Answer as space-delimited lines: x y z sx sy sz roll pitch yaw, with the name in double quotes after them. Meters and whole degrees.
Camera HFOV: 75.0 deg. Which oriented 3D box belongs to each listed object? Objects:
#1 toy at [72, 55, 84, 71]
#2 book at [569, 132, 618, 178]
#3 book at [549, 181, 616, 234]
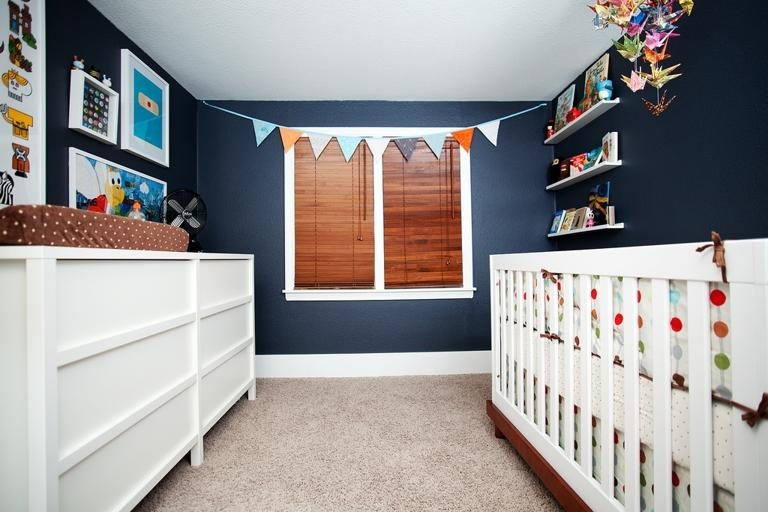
-1.826 -1.153 3.001 0.055 0.095 0.084 -1 0 -28 "toy"
1.506 -0.729 3.652 0.136 0.263 0.504 -1 0 -11 "book"
1.485 -0.351 3.789 0.197 0.360 0.729 -1 0 -7 "book"
